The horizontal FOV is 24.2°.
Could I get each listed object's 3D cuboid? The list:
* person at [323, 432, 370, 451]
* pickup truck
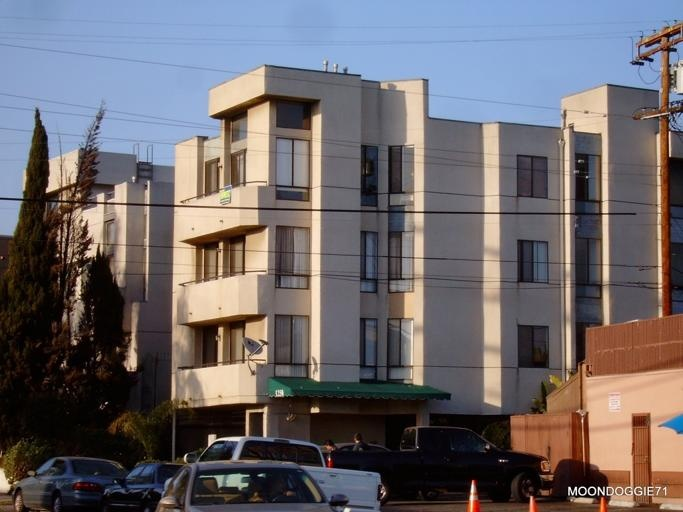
[{"bbox_3d":[0.287,7.463,62.070,1.620,0.829,0.960,-1,-1,-29],"label":"person"},{"bbox_3d":[3.667,8.542,61.512,7.725,2.878,3.448,-1,-5,-13],"label":"pickup truck"}]
